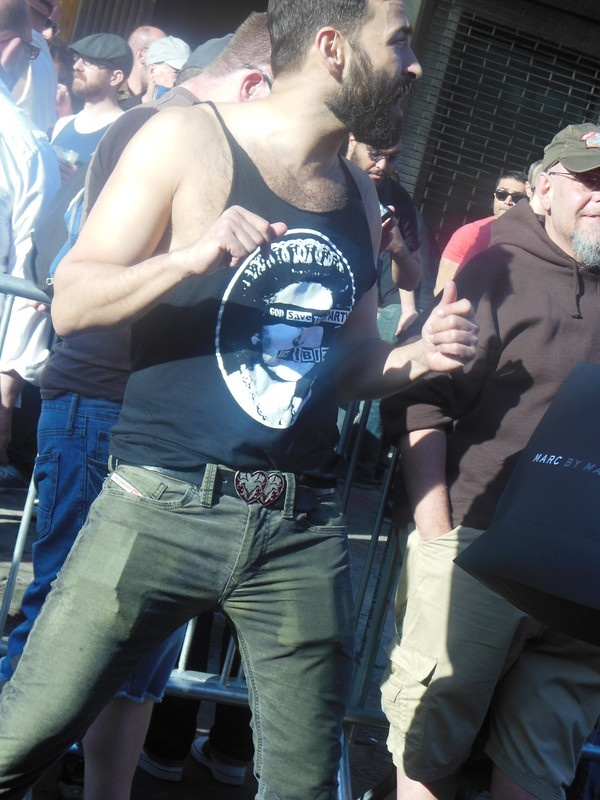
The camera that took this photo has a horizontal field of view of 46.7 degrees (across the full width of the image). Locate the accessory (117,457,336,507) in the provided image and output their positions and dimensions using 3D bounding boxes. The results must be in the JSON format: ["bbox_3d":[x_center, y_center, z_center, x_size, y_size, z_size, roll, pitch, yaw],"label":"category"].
[{"bbox_3d":[-0.127,0.166,1.405,0.258,0.047,0.175,13,-13,9],"label":"accessory"}]
